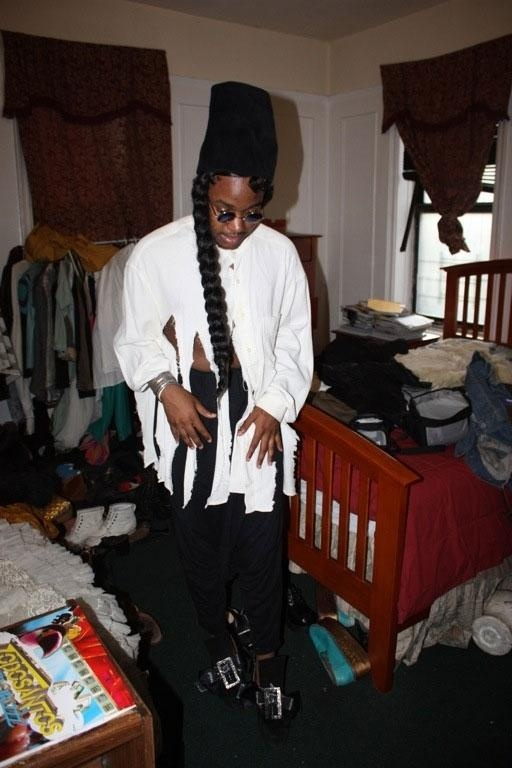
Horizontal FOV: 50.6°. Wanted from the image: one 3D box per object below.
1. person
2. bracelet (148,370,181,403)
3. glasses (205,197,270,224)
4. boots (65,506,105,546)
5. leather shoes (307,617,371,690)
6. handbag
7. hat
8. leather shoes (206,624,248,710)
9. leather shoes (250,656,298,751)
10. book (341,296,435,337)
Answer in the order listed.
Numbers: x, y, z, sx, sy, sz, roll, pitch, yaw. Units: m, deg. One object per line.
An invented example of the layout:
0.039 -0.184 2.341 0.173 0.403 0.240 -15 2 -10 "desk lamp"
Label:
-0.068 0.221 1.319 0.319 1.358 0.450 8 15 35 "person"
-0.197 -0.003 1.114 0.058 0.044 0.053 -34 18 23 "bracelet"
-0.028 -0.355 1.122 0.140 0.044 0.124 -7 15 -27 "glasses"
-0.691 0.576 2.180 0.155 0.160 0.085 -6 13 -24 "boots"
0.238 0.780 1.582 0.051 0.126 0.161 -23 45 -8 "leather shoes"
0.575 0.092 1.811 0.202 0.201 0.152 -7 13 -20 "handbag"
-0.034 -0.495 1.058 0.136 0.183 0.092 -1 12 -3 "hat"
-0.072 0.796 1.560 0.133 0.189 0.055 -21 0 21 "leather shoes"
0.045 0.831 1.443 0.096 0.216 0.080 -6 -6 1 "leather shoes"
0.810 -0.401 3.488 0.308 0.139 0.433 -18 28 -35 "book"
